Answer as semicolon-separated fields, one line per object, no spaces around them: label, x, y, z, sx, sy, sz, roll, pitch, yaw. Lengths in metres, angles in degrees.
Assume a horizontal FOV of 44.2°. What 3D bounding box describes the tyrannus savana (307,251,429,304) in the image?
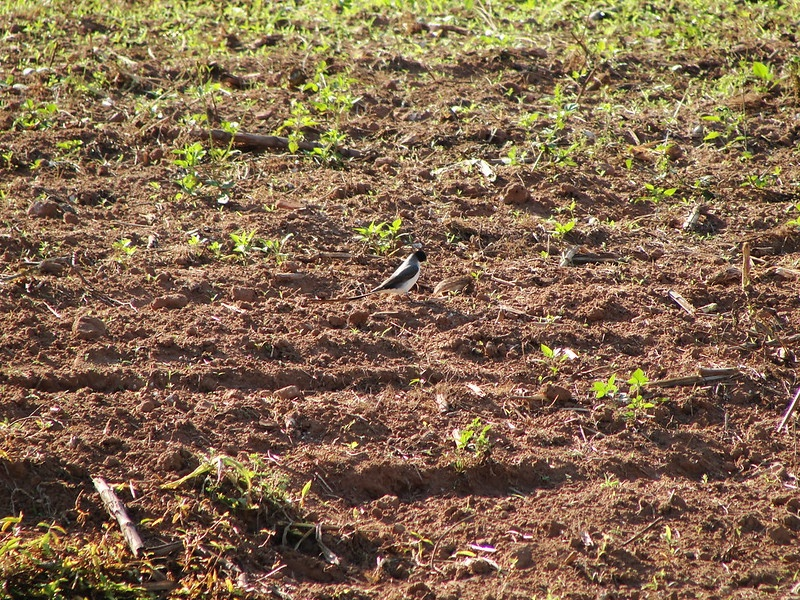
tyrannus savana;-0.093;-0.146;8.895;1.073;0.391;0.237;-15;-20;41
